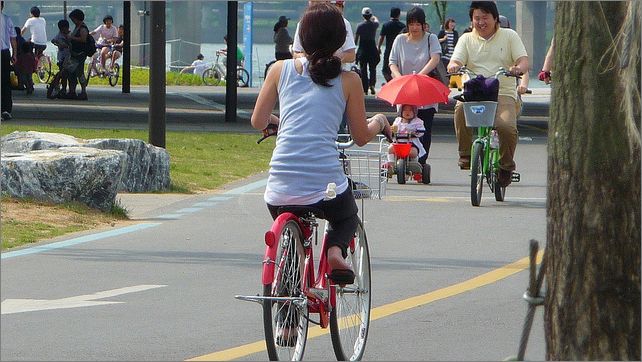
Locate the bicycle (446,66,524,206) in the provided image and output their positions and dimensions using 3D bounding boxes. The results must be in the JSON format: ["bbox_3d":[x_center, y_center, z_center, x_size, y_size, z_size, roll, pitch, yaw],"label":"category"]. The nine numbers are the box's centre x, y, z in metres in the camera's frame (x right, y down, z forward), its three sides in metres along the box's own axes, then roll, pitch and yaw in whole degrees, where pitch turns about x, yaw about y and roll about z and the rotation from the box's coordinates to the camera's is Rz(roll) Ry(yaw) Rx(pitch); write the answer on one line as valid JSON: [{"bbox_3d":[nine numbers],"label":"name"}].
[{"bbox_3d":[2.573,-0.663,17.283,0.924,2.171,1.089,2,5,15],"label":"bicycle"}]

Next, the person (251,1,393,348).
[{"bbox_3d":[-0.060,-0.397,11.871,1.258,2.991,0.538,1,5,2],"label":"person"}]

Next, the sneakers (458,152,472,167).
[{"bbox_3d":[2.303,-0.327,17.731,0.229,0.260,0.624,0,-3,2],"label":"sneakers"}]

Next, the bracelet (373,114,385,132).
[{"bbox_3d":[0.648,-0.625,12.110,0.086,0.160,0.124,-16,7,-3],"label":"bracelet"}]

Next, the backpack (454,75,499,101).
[{"bbox_3d":[2.530,-1.368,17.048,0.479,0.277,0.593,4,-15,11],"label":"backpack"}]

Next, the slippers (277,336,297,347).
[{"bbox_3d":[-0.361,1.720,11.860,0.157,0.098,0.113,2,6,2],"label":"slippers"}]

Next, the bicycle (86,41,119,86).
[{"bbox_3d":[-7.561,-4.301,39.732,1.120,1.495,2.466,-13,1,-9],"label":"bicycle"}]

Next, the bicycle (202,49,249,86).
[{"bbox_3d":[-3.720,-4.319,43.496,2.084,1.282,0.937,-2,-1,-28],"label":"bicycle"}]

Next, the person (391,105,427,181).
[{"bbox_3d":[1.482,-0.604,19.038,0.638,1.381,0.780,1,5,4],"label":"person"}]
